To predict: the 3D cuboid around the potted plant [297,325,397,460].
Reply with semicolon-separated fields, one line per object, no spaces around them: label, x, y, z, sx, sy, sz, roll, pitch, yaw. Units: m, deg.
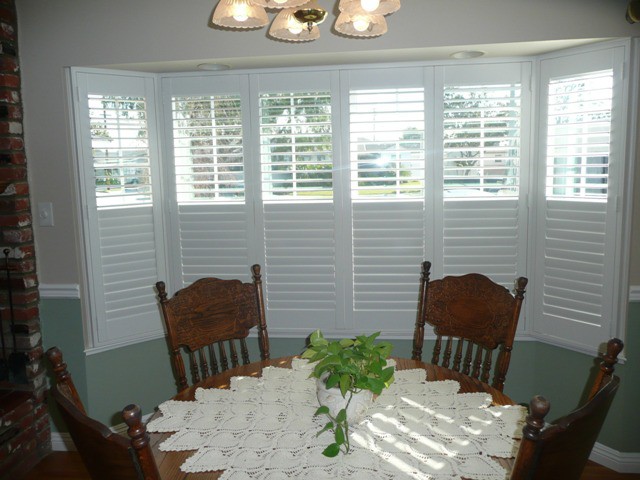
potted plant;0.107;0.521;1.664;0.310;0.362;0.344;-1;10;-2
